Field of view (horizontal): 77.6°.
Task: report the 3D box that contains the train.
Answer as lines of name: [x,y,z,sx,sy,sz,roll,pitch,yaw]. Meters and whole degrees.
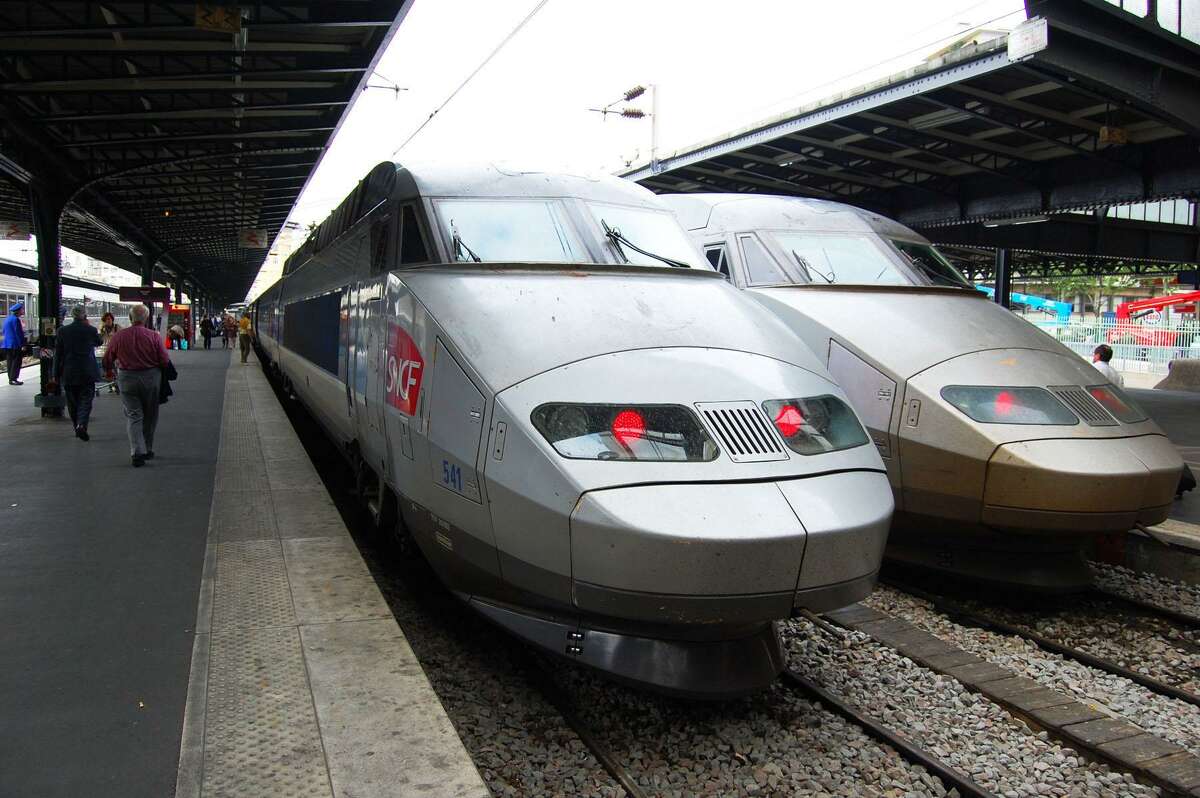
train: [-0.282,-0.083,5.224,4.230,3.259,1.760,13,13,42]

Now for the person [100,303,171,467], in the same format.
person: [-5.707,-0.218,9.313,0.735,1.978,1.018,-1,12,-32]
